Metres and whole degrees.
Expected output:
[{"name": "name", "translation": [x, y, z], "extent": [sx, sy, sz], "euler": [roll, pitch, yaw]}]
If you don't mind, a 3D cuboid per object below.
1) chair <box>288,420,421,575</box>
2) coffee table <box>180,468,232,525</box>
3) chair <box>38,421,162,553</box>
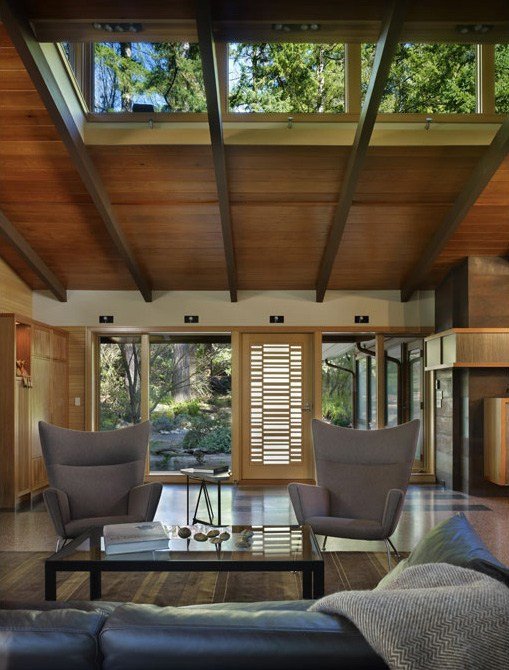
[{"name": "chair", "translation": [0.657, 0.998, 3.564], "extent": [0.921, 0.872, 0.924], "euler": [4, -11, -14]}, {"name": "coffee table", "translation": [-0.440, 1.427, 4.651], "extent": [0.467, 0.474, 0.500], "euler": [-6, -9, 32]}, {"name": "chair", "translation": [-1.022, 1.009, 3.589], "extent": [0.875, 0.882, 0.853], "euler": [-6, -13, 14]}]
